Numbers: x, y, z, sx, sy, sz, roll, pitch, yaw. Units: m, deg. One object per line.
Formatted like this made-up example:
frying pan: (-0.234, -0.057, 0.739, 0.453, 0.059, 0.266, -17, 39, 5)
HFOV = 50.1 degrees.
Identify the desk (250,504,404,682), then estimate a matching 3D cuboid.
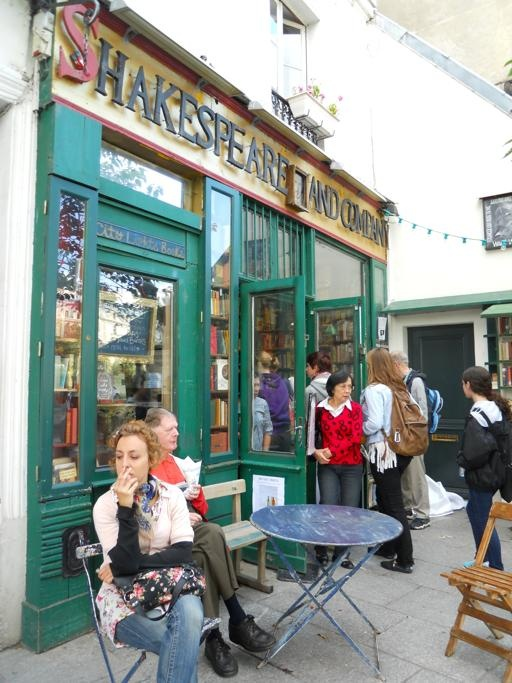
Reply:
desk: (0.384, 1.232, 2.813, 0.691, 0.689, 0.774, 2, 1, 14)

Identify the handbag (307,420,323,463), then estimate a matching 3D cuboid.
handbag: (0.417, 0.732, 4.059, 0.054, 0.236, 0.225, 3, 3, 8)

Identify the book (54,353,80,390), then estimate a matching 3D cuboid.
book: (-1.010, 0.170, 3.045, 0.144, 0.210, 0.212, 1, -2, -2)

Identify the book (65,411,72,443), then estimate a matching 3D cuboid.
book: (-1.017, 0.461, 2.968, 0.013, 0.170, 0.050, -3, -2, 21)

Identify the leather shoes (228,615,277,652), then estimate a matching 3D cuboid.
leather shoes: (-0.034, 1.431, 2.735, 0.266, 0.140, 0.117, -10, -7, 40)

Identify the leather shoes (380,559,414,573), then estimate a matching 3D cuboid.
leather shoes: (1.037, 1.603, 3.974, 0.202, 0.084, 0.076, 5, 0, 42)

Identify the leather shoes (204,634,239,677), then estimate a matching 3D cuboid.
leather shoes: (-0.151, 1.444, 2.522, 0.077, 0.088, 0.213, -2, -7, -18)

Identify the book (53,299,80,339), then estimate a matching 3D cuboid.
book: (-1.095, -0.124, 3.021, 0.172, 0.248, 0.131, 1, 0, 19)

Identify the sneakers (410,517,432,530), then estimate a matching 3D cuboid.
sneakers: (1.583, 1.731, 5.239, 0.130, 0.125, 0.310, -8, -15, 32)

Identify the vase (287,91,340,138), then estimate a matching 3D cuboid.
vase: (0.643, -2.427, 5.941, 0.211, 0.272, 0.764, -4, -3, 37)

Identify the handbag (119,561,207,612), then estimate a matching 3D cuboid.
handbag: (-0.349, 0.876, 2.008, 0.206, 0.089, 0.164, -4, 5, -24)

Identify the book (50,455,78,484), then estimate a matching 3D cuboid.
book: (-1.017, 0.685, 2.920, 0.039, 0.143, 0.158, -3, -2, 27)
